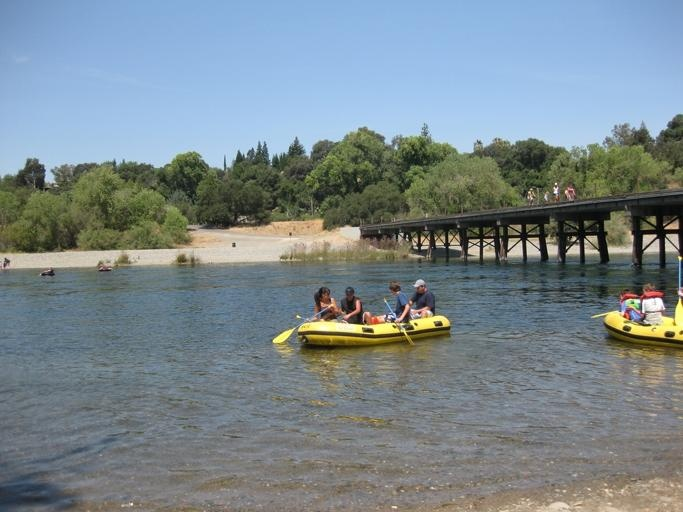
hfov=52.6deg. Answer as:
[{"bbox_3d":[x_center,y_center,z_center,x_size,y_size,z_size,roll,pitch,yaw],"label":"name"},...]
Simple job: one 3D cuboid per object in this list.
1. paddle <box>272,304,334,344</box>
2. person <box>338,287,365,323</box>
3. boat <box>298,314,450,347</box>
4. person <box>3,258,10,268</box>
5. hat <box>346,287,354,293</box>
[{"bbox_3d":[-1.422,2.547,25.378,2.730,0.453,0.265,-24,-20,-32],"label":"paddle"},{"bbox_3d":[0.216,1.761,23.485,1.105,1.348,1.116,-3,-2,-14],"label":"person"},{"bbox_3d":[0.979,2.547,22.929,3.206,0.643,1.733,-2,1,-22],"label":"boat"},{"bbox_3d":[-35.962,0.742,74.282,0.751,1.210,3.364,-3,1,-26],"label":"person"},{"bbox_3d":[0.268,1.133,22.780,0.184,0.225,0.240,0,-7,3],"label":"hat"}]
